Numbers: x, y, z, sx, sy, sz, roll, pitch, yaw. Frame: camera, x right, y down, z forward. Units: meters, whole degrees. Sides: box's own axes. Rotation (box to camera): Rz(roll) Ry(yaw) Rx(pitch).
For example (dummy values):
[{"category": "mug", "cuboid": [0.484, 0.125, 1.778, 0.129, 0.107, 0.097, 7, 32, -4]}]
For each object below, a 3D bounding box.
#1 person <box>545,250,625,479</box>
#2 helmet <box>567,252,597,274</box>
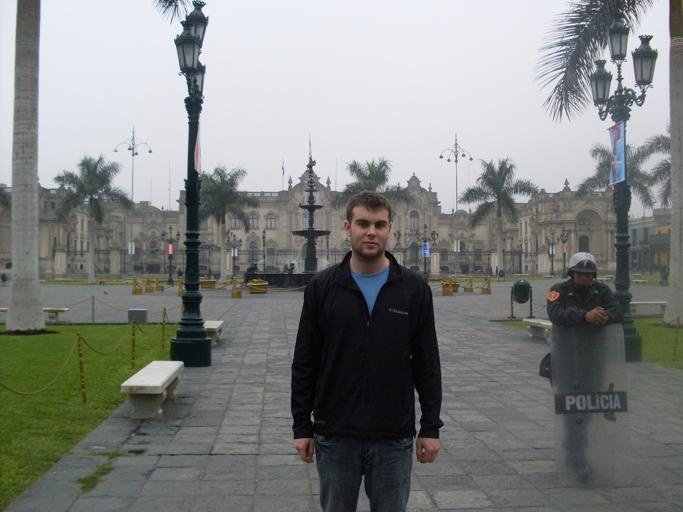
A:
[{"category": "person", "cuboid": [2.929, 1.281, 9.384, 0.921, 2.615, 0.899, 2, 6, 11]}, {"category": "helmet", "cuboid": [2.975, 0.055, 9.642, 0.264, 0.266, 0.314, 2, -13, 5]}]
